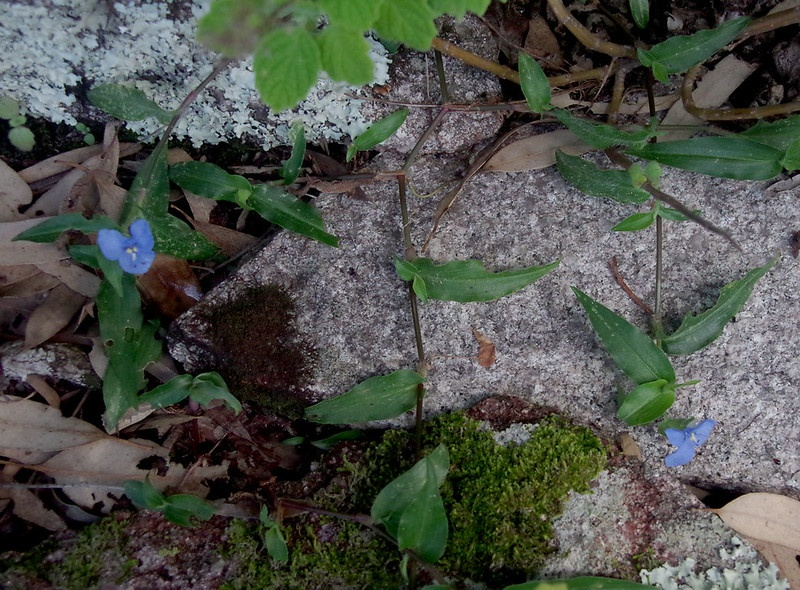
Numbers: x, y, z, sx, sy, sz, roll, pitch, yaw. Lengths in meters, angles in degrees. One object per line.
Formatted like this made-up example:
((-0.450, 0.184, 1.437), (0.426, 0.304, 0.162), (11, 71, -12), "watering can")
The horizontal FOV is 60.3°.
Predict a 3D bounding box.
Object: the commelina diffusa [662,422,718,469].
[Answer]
((1.254, 0.649, 2.995), (0.230, 0.157, 0.146), (-13, 66, 3), "commelina diffusa")

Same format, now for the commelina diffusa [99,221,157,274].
((-1.046, -0.185, 2.640), (0.187, 0.164, 0.182), (-24, 66, -2), "commelina diffusa")
